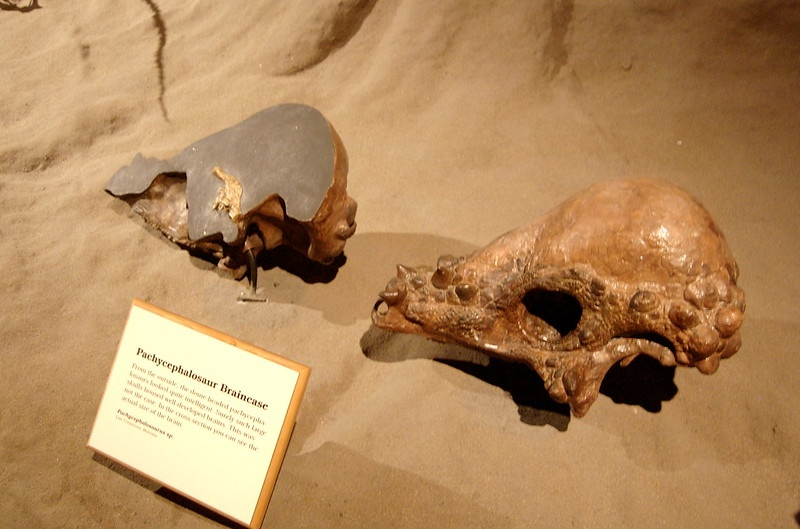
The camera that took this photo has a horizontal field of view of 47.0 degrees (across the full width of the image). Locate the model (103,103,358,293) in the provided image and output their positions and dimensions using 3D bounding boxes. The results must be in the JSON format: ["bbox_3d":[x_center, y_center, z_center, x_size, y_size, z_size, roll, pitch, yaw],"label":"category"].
[{"bbox_3d":[-0.585,-0.252,3.371,0.747,0.304,0.673,-7,81,5],"label":"model"}]

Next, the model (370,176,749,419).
[{"bbox_3d":[0.555,0.028,3.332,1.272,0.763,0.770,1,38,5],"label":"model"}]

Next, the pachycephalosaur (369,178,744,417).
[{"bbox_3d":[0.512,0.080,3.229,1.119,0.667,0.639,4,38,3],"label":"pachycephalosaur"}]
